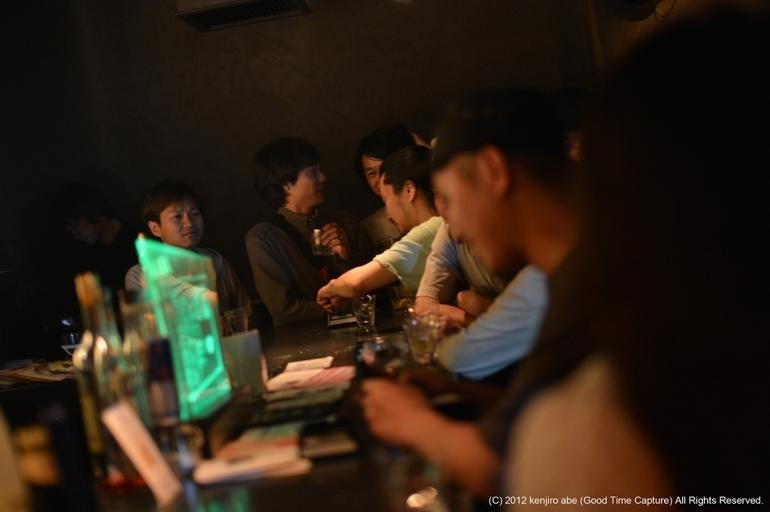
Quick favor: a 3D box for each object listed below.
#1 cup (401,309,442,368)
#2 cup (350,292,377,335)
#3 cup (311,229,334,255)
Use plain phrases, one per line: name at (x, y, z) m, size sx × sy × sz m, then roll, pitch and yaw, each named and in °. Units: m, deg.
cup at (0.118, 0.273, 1.988) m, size 0.141 × 0.170 × 0.144 m, roll 4°, pitch -11°, yaw 1°
cup at (-0.100, 0.287, 2.817) m, size 0.147 × 0.217 × 0.142 m, roll -2°, pitch -2°, yaw 0°
cup at (-0.386, -0.083, 3.581) m, size 0.134 × 0.151 × 0.148 m, roll -1°, pitch -9°, yaw -3°
